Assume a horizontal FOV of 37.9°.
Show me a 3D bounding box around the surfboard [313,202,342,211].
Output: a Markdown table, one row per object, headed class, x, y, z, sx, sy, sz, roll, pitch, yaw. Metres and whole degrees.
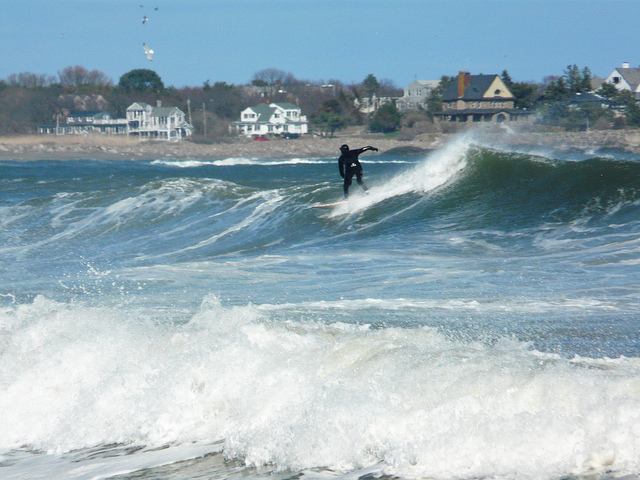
| class | x | y | z | sx | sy | sz | roll | pitch | yaw |
| --- | --- | --- | --- | --- | --- | --- | --- | --- | --- |
| surfboard | 0.212 | -0.833 | 22.817 | 0.582 | 0.109 | 0.766 | -6 | 10 | -27 |
